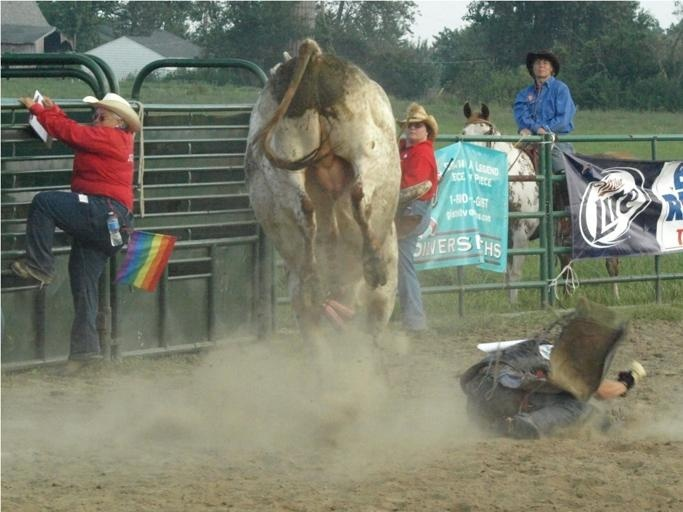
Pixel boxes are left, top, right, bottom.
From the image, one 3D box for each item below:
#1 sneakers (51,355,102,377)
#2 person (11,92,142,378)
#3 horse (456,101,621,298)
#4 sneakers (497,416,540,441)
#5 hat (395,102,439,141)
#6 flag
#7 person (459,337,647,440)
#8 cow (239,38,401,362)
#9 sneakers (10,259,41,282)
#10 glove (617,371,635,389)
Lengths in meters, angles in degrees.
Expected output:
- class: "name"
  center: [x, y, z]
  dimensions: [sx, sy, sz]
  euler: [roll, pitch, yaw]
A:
- class: "sneakers"
  center: [-2.934, 1.231, 15.565]
  dimensions: [0.668, 0.276, 0.201]
  euler: [-3, 6, -37]
- class: "person"
  center: [-2.998, -0.431, 15.505]
  dimensions: [1.337, 3.415, 0.927]
  euler: [16, -27, -23]
- class: "horse"
  center: [2.679, -0.401, 19.127]
  dimensions: [3.664, 2.657, 0.912]
  euler: [17, -14, -42]
- class: "sneakers"
  center: [1.824, 1.769, 14.156]
  dimensions: [0.470, 0.236, 0.144]
  euler: [2, 4, 35]
- class: "hat"
  center: [0.952, -1.572, 15.778]
  dimensions: [0.425, 0.254, 0.545]
  euler: [3, -1, 6]
- class: "flag"
  center: [-2.216, 0.065, 15.667]
  dimensions: [0.577, 0.720, 0.078]
  euler: [9, 28, -32]
- class: "person"
  center: [2.157, 1.241, 14.690]
  dimensions: [1.880, 0.549, 1.513]
  euler: [-24, 29, -34]
- class: "cow"
  center: [-0.124, -0.665, 13.616]
  dimensions: [1.095, 3.460, 2.013]
  euler: [-5, 37, 8]
- class: "sneakers"
  center: [-3.511, 0.170, 15.256]
  dimensions: [0.360, 0.150, 0.165]
  euler: [35, 34, -1]
- class: "glove"
  center: [2.989, 1.301, 14.341]
  dimensions: [0.111, 0.162, 0.229]
  euler: [1, -2, 15]
